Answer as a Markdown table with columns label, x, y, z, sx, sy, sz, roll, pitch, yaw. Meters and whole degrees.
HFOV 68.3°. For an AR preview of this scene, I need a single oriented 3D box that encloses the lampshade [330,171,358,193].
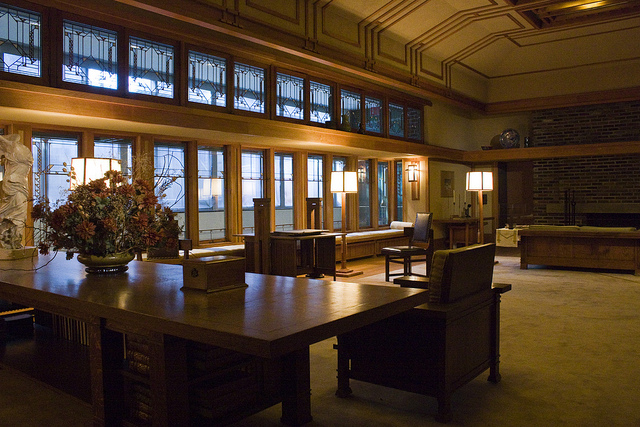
| label | x | y | z | sx | sy | sz | roll | pitch | yaw |
| --- | --- | --- | --- | --- | --- | --- | --- | --- | --- |
| lampshade | 0.432 | -0.558 | 8.455 | 0.410 | 0.403 | 0.399 | -1 | 0 | -8 |

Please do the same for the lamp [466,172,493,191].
| label | x | y | z | sx | sy | sz | roll | pitch | yaw |
| --- | --- | --- | --- | --- | --- | --- | --- | --- | --- |
| lamp | 3.415 | -0.709 | 10.084 | 0.427 | 0.306 | 0.430 | 4 | 8 | 38 |

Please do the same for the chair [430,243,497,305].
| label | x | y | z | sx | sy | sz | roll | pitch | yaw |
| --- | --- | --- | --- | --- | --- | --- | --- | --- | --- |
| chair | 1.302 | 0.522 | 4.306 | 0.295 | 0.456 | 0.989 | 0 | 2 | 40 |

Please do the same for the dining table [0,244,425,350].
| label | x | y | z | sx | sy | sz | roll | pitch | yaw |
| --- | --- | --- | --- | --- | --- | --- | --- | --- | --- |
| dining table | -0.956 | 0.539 | 3.548 | 3.226 | 0.385 | 1.150 | 1 | 6 | 23 |

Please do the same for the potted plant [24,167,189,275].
| label | x | y | z | sx | sy | sz | roll | pitch | yaw |
| --- | --- | --- | --- | --- | --- | --- | --- | --- | --- |
| potted plant | -1.990 | 0.124 | 4.316 | 1.080 | 0.810 | 1.068 | 1 | 8 | -21 |

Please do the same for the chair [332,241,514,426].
| label | x | y | z | sx | sy | sz | roll | pitch | yaw |
| --- | --- | --- | --- | --- | --- | --- | --- | --- | --- |
| chair | 0.943 | 0.836 | 4.571 | 1.366 | 1.542 | 1.805 | 0 | 0 | 36 |

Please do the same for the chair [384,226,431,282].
| label | x | y | z | sx | sy | sz | roll | pitch | yaw |
| --- | --- | --- | --- | --- | --- | --- | --- | --- | --- |
| chair | 1.484 | 0.681 | 8.029 | 0.679 | 0.964 | 0.614 | -2 | 3 | -24 |

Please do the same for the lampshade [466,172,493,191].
| label | x | y | z | sx | sy | sz | roll | pitch | yaw |
| --- | --- | --- | --- | --- | --- | --- | --- | --- | --- |
| lampshade | 3.399 | -0.692 | 10.091 | 0.424 | 0.266 | 0.437 | 3 | 5 | 41 |

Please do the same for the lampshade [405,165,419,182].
| label | x | y | z | sx | sy | sz | roll | pitch | yaw |
| --- | --- | --- | --- | --- | --- | --- | --- | --- | --- |
| lampshade | 2.296 | -1.002 | 11.635 | 0.346 | 0.447 | 0.353 | -3 | -4 | 44 |

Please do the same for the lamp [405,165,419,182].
| label | x | y | z | sx | sy | sz | roll | pitch | yaw |
| --- | --- | --- | --- | --- | --- | --- | --- | --- | --- |
| lamp | 2.286 | -1.004 | 11.638 | 0.351 | 0.441 | 0.345 | 3 | -4 | -44 |
